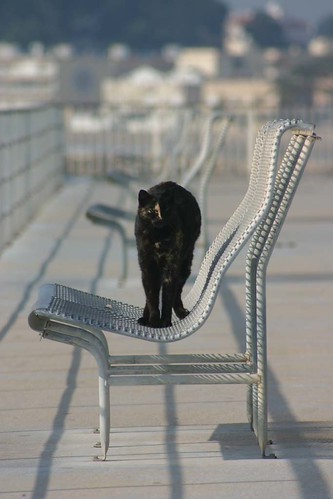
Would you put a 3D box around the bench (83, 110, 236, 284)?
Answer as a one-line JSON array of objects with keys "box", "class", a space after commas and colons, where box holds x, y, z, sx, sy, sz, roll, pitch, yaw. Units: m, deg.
[{"box": [0.002, -0.405, 7.652, 1.146, 1.722, 0.947, 2, 8, -3], "class": "bench"}]

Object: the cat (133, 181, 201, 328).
[{"box": [-0.011, 0.021, 4.523, 0.208, 0.554, 0.855, 3, 2, 6], "class": "cat"}]

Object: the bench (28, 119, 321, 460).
[{"box": [0.020, 0.157, 4.351, 1.070, 1.278, 0.779, -1, -1, 19], "class": "bench"}]
